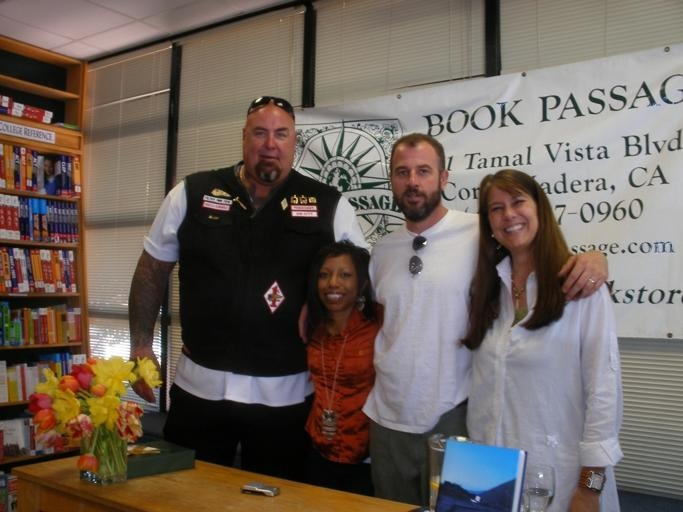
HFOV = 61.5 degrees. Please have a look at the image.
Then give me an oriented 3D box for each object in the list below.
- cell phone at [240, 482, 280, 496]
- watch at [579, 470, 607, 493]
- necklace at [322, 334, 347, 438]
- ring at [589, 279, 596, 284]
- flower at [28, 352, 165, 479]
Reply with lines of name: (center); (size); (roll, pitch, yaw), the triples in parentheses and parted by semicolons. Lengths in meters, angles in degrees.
cell phone: (-0.306, 0.873, 2.180); (0.094, 0.028, 0.055); (4, -6, 11)
watch: (0.952, 0.852, 2.182); (0.100, 0.069, 0.103); (11, -5, 7)
necklace: (-0.054, 0.650, 2.811); (0.144, 0.507, 0.031); (2, -2, 13)
ring: (1.013, 0.107, 2.317); (0.026, 0.024, 0.008); (0, -3, -16)
flower: (-1.029, 0.685, 2.344); (0.539, 0.470, 0.516); (-3, -9, -31)
